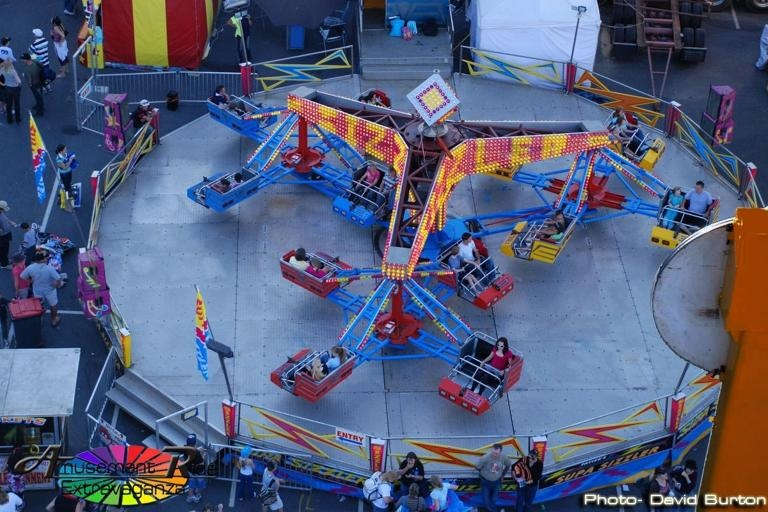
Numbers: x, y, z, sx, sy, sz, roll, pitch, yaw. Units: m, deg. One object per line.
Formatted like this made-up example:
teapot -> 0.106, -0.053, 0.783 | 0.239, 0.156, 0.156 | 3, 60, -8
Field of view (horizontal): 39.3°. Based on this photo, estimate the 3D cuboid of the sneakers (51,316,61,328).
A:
sneakers -> -12.238, 2.437, 39.704 | 0.227, 0.285, 0.425 | 12, 62, -5

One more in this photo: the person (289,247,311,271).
person -> -3.147, 0.138, 39.557 | 0.494, 1.240, 0.479 | 19, 87, -6

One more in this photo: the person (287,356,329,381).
person -> -2.590, 3.821, 36.505 | 1.061, 0.410, 0.757 | 20, 53, 23

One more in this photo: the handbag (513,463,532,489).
handbag -> 4.515, 7.080, 34.768 | 0.509, 0.806, 0.821 | 0, 32, -3

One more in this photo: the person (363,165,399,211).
person -> -0.115, -2.683, 42.282 | 1.333, 1.071, 1.855 | -3, 49, 1

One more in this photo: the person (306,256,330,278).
person -> -2.435, 0.425, 39.454 | 0.770, 0.533, 0.915 | 10, 50, 13

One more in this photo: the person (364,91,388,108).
person -> -0.168, -6.781, 46.088 | 1.142, 0.415, 0.846 | -4, 83, -36

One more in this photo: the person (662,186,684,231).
person -> 11.272, -1.881, 41.616 | 0.640, 0.574, 1.986 | 16, 60, 23

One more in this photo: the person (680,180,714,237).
person -> 12.170, -2.004, 41.298 | 1.116, 1.355, 2.258 | 13, 51, 16

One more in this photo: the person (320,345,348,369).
person -> -1.690, 3.500, 36.527 | 0.867, 0.714, 0.867 | -7, 49, -2

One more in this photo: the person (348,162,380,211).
person -> -0.682, -2.914, 42.497 | 1.068, 0.664, 1.882 | 15, 57, 20

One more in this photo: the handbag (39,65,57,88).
handbag -> -15.135, -7.989, 47.864 | 0.673, 1.219, 0.814 | 1, 77, -13

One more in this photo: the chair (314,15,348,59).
chair -> -2.482, -10.549, 52.835 | 1.830, 2.365, 1.831 | -8, 59, -10

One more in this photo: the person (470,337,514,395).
person -> 3.756, 3.805, 36.742 | 1.742, 1.438, 0.928 | -37, 56, -25
